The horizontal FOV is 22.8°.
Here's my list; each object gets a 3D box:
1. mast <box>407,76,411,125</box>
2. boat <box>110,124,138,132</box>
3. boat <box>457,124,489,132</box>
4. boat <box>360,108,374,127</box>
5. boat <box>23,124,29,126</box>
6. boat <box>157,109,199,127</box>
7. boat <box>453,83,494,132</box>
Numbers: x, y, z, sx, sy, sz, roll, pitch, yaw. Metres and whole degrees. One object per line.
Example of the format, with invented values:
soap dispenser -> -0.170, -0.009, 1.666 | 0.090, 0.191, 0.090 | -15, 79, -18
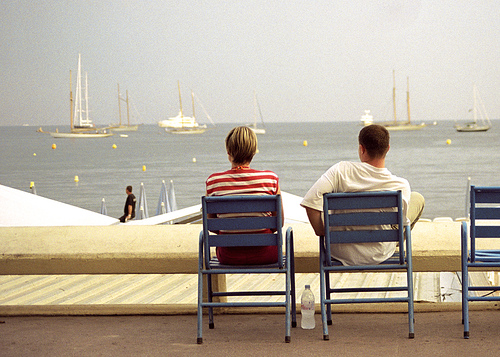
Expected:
mast -> 30.494, -15.029, 239.231 | 0.512, 9.212, 1.970 | -3, 3, 9
boat -> -24.878, -9.784, 238.725 | 1.550, 1.537, 8.056 | 0, 6, 45
boat -> 40.288, -9.253, 225.921 | 6.322, 1.453, 1.445 | 0, 4, 1
boat -> 23.010, -12.277, 244.577 | 2.227, 3.015, 5.059 | -3, 3, 5
boat -> -38.014, -9.134, 210.495 | 0.926, 0.288, 1.991 | -4, 3, -11
boat -> -16.060, -11.763, 252.651 | 9.962, 3.904, 2.996 | 0, 8, 4
boat -> 41.287, -12.345, 226.486 | 5.031, 7.677, 7.696 | -3, 3, 11
